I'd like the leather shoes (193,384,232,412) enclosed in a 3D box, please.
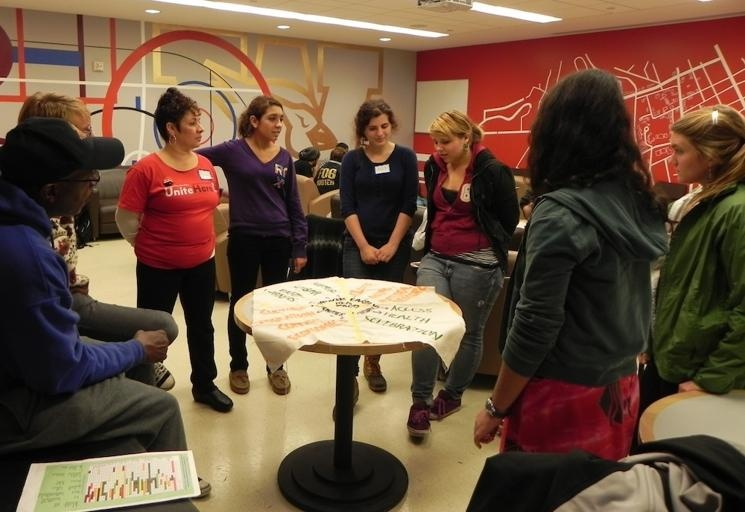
[{"bbox_3d":[-0.998,0.878,3.435,0.322,0.128,0.117,12,22,27],"label":"leather shoes"}]

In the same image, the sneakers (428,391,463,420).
[{"bbox_3d":[0.444,0.922,3.345,0.252,0.119,0.114,-2,4,-44],"label":"sneakers"}]

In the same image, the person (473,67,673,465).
[{"bbox_3d":[0.696,0.066,1.867,0.608,1.373,0.327,3,11,12],"label":"person"}]
